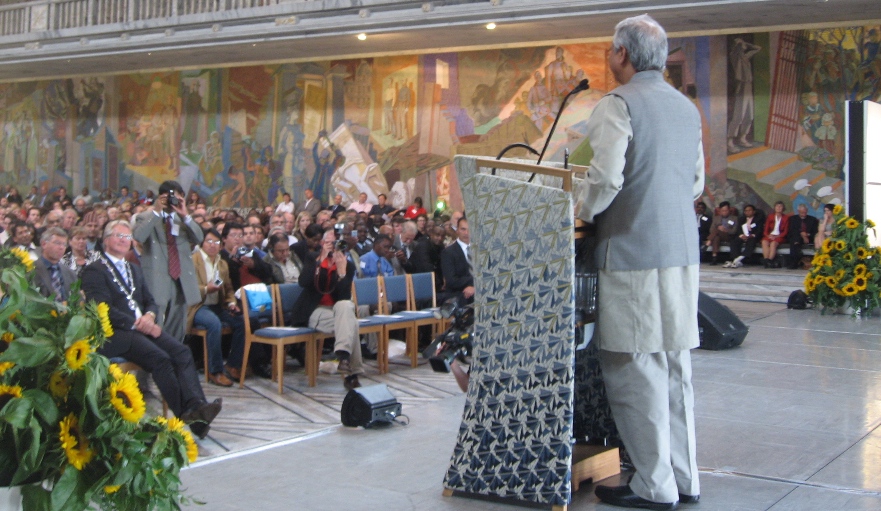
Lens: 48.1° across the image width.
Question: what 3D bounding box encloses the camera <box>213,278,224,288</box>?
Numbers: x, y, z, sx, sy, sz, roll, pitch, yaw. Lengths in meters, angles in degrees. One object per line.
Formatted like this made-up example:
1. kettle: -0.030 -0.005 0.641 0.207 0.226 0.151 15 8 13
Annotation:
1. camera: -3.294 0.415 14.667 0.112 0.082 0.112 1 -6 24

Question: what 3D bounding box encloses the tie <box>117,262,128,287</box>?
1. tie: -4.265 0.277 13.300 0.059 0.243 0.148 -21 -8 3

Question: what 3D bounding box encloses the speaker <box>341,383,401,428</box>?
1. speaker: -0.883 1.960 13.004 0.634 0.441 0.669 -1 3 37

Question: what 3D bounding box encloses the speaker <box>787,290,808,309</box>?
1. speaker: 6.403 0.810 17.772 0.342 0.335 0.243 -1 -4 13

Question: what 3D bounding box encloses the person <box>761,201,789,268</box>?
1. person: 7.963 -0.512 23.568 0.722 1.471 0.468 -4 4 -17
